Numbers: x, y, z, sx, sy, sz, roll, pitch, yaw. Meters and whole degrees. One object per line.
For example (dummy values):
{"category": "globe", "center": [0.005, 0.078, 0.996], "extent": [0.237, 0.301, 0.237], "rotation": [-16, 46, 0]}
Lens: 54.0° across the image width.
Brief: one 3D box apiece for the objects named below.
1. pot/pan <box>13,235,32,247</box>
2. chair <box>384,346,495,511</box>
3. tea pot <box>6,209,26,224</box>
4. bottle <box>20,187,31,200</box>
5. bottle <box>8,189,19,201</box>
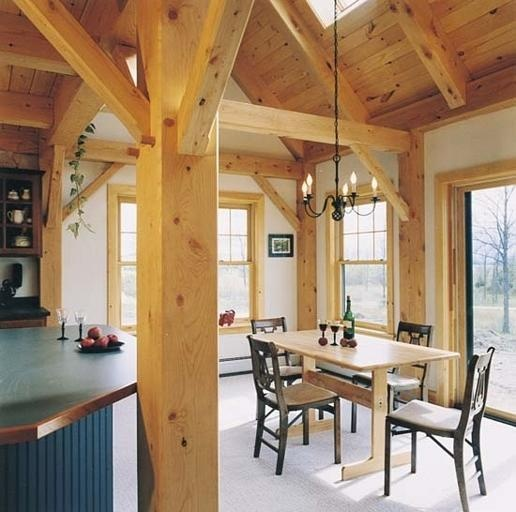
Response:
{"category": "pot/pan", "center": [-2.202, -0.134, 4.708], "extent": [0.117, 0.110, 0.113], "rotation": [0, -5, 0]}
{"category": "chair", "center": [1.073, 0.973, 3.035], "extent": [0.606, 0.895, 0.515], "rotation": [0, 2, 24]}
{"category": "tea pot", "center": [-2.269, -0.371, 4.717], "extent": [0.145, 0.142, 0.119], "rotation": [-1, 2, -6]}
{"category": "bottle", "center": [-2.187, -0.578, 4.751], "extent": [0.127, 0.128, 0.093], "rotation": [1, 2, -32]}
{"category": "bottle", "center": [-2.275, -0.569, 4.711], "extent": [0.097, 0.091, 0.094], "rotation": [2, -3, -13]}
